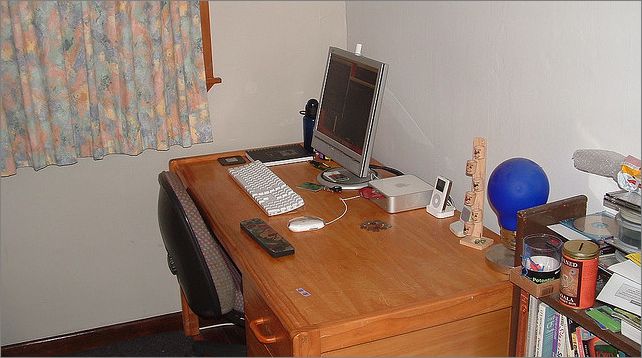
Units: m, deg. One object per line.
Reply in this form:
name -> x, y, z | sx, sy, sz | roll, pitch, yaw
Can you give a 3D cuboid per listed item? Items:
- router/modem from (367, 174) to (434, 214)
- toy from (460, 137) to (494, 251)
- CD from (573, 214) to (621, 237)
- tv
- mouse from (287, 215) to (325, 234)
router/modem -> 0.426, 0.067, 2.173 | 0.224, 0.083, 0.212 | -11, 23, -23
toy -> 0.682, 0.070, 1.903 | 0.114, 0.503, 0.132 | 3, -2, -6
CD -> 1.018, 0.168, 1.566 | 0.132, 0.018, 0.158 | 12, 28, 27
tv -> 0.171, -0.326, 2.382 | 0.443, 0.730, 0.708 | -9, 26, -25
mouse -> -0.075, 0.212, 2.016 | 0.120, 0.026, 0.084 | -5, 22, -10
